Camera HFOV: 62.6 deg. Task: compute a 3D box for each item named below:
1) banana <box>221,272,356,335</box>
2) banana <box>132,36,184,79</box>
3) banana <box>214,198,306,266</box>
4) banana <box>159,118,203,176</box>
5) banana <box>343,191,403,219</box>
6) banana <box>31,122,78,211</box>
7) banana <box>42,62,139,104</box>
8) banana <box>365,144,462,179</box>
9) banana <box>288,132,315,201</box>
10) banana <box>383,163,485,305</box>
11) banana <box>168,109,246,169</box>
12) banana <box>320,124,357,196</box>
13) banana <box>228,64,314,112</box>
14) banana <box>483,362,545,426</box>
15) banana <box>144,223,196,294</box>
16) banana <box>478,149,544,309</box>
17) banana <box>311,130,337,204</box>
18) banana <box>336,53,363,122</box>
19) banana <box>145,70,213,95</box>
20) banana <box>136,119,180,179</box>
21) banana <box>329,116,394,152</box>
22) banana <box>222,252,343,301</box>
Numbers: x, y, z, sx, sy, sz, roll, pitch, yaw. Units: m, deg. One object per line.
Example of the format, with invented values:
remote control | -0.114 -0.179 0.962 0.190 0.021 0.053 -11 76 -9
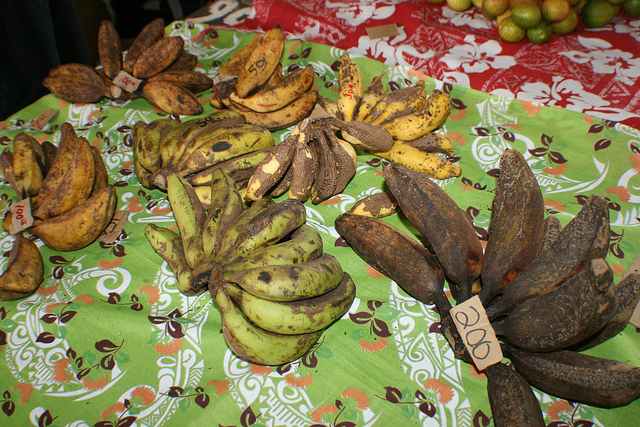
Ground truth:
banana | -0.071 0.322 1.726 0.274 0.216 0.074 -12 46 -6
banana | -0.759 -0.721 2.395 0.041 0.187 0.378 33 39 6
banana | -0.162 0.042 1.835 0.424 0.155 0.122 -26 54 30
banana | -0.575 -0.279 2.100 0.137 0.066 0.252 33 58 -14
banana | 0.206 -0.022 2.040 0.248 0.058 0.090 -14 65 -5
banana | -1.054 -0.174 2.080 0.082 0.128 0.382 6 78 34
banana | -1.099 -0.650 2.506 0.175 0.136 0.507 47 30 15
banana | 0.392 -0.243 2.093 0.397 0.111 0.103 5 48 15
banana | -0.072 -0.164 1.969 0.075 0.087 0.258 9 85 -12
banana | 0.392 0.052 1.802 0.188 0.160 0.615 -21 55 -7
banana | -0.444 -0.337 2.170 0.331 0.088 0.165 -46 34 -11
banana | 0.067 -0.228 2.015 0.131 0.215 0.047 -28 18 -18
banana | -0.212 -0.514 2.191 0.293 0.080 0.106 -26 67 5
banana | 0.594 0.570 1.643 0.127 0.074 0.206 -20 63 9
banana | -0.510 0.142 1.884 0.126 0.100 0.288 -30 55 -29
banana | 0.624 0.028 1.703 0.175 0.165 0.554 0 80 20
banana | 0.024 -0.175 1.972 0.065 0.257 0.089 9 24 29
banana | 0.118 -0.492 2.080 0.083 0.094 0.292 1 82 -1
banana | -0.655 -0.595 2.388 0.239 0.121 0.069 3 7 -22
banana | -0.684 -0.267 2.157 0.161 0.135 0.050 -26 26 -17
banana | 0.140 -0.303 1.995 0.261 0.100 0.139 5 45 -18
banana | -0.118 0.221 1.745 0.401 0.125 0.151 -12 53 -11
